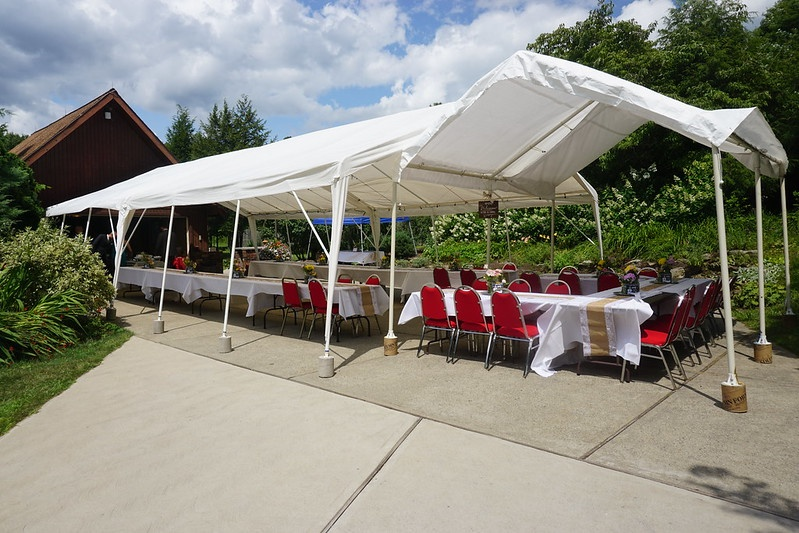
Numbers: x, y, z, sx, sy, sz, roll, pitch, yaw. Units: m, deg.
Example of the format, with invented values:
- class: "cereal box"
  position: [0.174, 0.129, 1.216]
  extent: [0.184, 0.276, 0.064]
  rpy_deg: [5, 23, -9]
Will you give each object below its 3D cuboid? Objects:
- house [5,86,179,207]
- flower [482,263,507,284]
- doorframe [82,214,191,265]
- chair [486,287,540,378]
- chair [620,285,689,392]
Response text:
- class: "house"
  position: [-10.799, -4.171, 17.825]
  extent: [7.091, 2.880, 4.772]
  rpy_deg: [5, 10, 41]
- class: "flower"
  position: [1.507, 0.147, 8.148]
  extent: [0.433, 0.314, 0.430]
  rpy_deg: [-5, 9, -38]
- class: "doorframe"
  position: [-9.947, -1.418, 19.934]
  extent: [2.339, 1.278, 2.375]
  rpy_deg: [20, 11, 0]
- class: "chair"
  position: [1.798, 0.950, 7.511]
  extent: [0.808, 1.289, 0.733]
  rpy_deg: [-4, 4, -41]
- class: "chair"
  position: [3.619, 0.978, 7.038]
  extent: [0.797, 1.282, 0.857]
  rpy_deg: [-10, 11, -32]
